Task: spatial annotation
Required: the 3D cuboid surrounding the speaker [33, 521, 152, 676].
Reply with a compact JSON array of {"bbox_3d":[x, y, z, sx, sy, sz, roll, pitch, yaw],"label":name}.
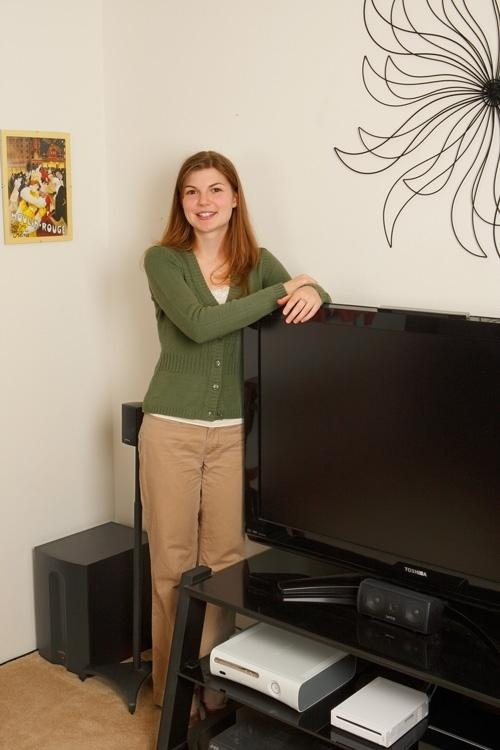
[{"bbox_3d":[-0.574,0.824,2.285,0.348,0.414,0.348,2,4,41],"label":"speaker"}]
